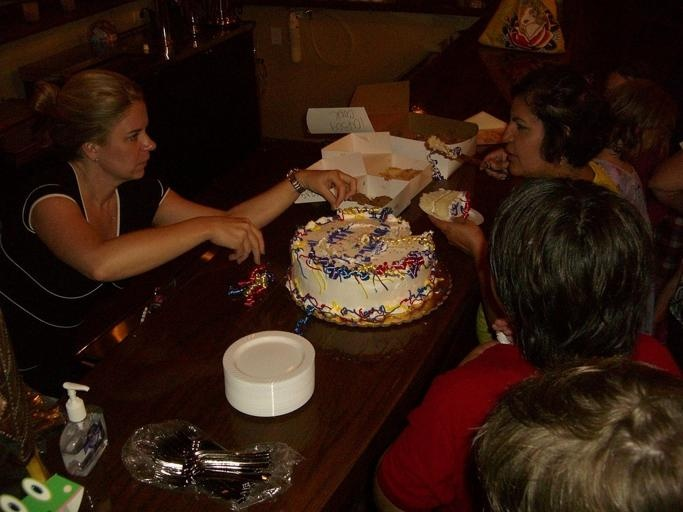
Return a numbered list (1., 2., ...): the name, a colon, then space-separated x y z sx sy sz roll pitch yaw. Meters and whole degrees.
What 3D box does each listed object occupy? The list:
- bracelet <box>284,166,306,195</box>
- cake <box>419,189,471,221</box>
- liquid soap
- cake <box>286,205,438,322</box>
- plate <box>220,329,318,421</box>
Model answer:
1. bracelet: -0.229 -0.354 2.645 0.042 0.113 0.116 -32 78 -14
2. cake: 0.482 -0.244 2.519 0.187 0.081 0.190 19 45 23
3. liquid soap: -0.711 0.489 1.462 0.082 0.254 0.155 10 37 8
4. cake: 0.120 0.052 1.994 0.454 0.153 0.440 -21 36 -31
5. plate: -0.225 0.357 1.664 0.270 0.127 0.258 -6 37 -11
